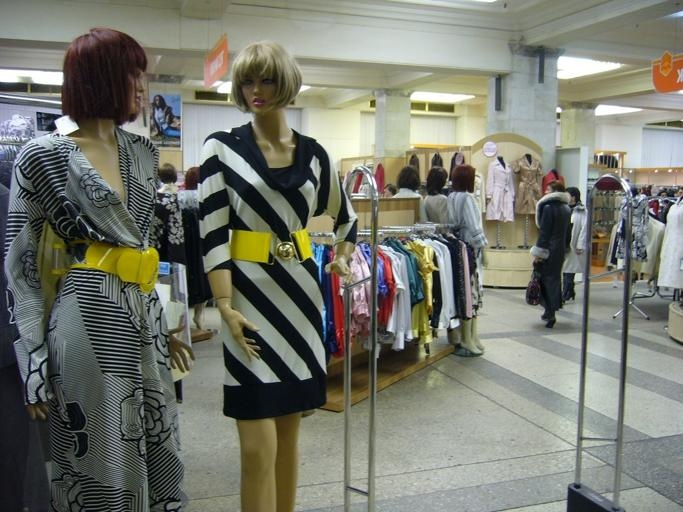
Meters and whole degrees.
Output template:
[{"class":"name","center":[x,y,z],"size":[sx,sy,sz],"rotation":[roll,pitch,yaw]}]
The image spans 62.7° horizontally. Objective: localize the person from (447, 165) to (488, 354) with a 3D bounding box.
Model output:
[{"class":"person","center":[1.272,0.047,5.663],"size":[0.401,1.869,0.778],"rotation":[1,10,11]}]

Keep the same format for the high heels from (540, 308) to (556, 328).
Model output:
[{"class":"high heels","center":[2.628,0.757,6.993],"size":[0.106,0.241,0.338],"rotation":[0,11,4]}]

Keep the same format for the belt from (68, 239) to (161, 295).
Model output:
[{"class":"belt","center":[-0.736,0.034,1.803],"size":[0.198,0.130,0.154],"rotation":[6,4,-12]}]

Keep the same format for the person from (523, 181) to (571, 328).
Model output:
[{"class":"person","center":[2.569,0.037,6.918],"size":[0.430,1.614,0.464],"rotation":[4,11,23]}]

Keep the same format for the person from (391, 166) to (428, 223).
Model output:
[{"class":"person","center":[0.751,-0.529,6.317],"size":[0.286,0.981,0.362],"rotation":[0,16,0]}]

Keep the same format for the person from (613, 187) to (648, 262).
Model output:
[{"class":"person","center":[4.014,-0.414,7.719],"size":[0.448,1.092,0.328],"rotation":[5,28,30]}]
